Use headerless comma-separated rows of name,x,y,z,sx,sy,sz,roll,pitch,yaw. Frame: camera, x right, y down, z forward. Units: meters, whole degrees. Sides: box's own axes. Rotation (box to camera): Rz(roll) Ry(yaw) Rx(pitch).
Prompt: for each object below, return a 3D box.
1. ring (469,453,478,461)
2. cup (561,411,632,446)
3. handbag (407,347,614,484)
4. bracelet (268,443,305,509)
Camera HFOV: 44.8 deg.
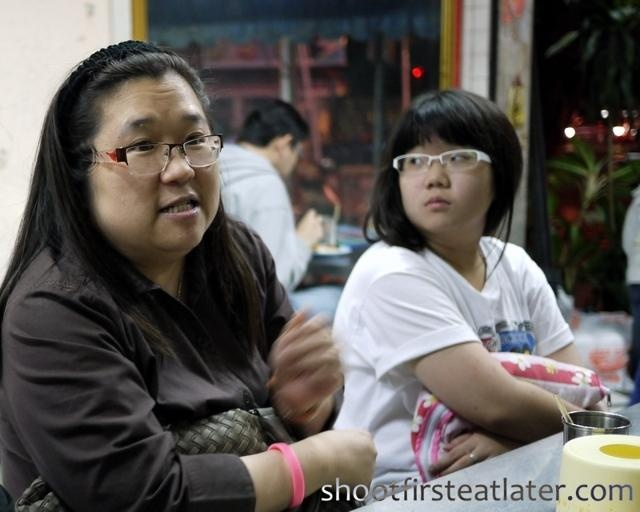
ring,0.443,0.573,2.212,0.017,0.018,0.004,-14,-15,-34
cup,0.678,0.401,1.900,0.103,0.089,0.117,0,-7,2
handbag,0.536,0.445,2.282,0.423,0.196,0.406,-25,5,8
bracelet,-0.077,0.542,1.919,0.035,0.143,0.103,-2,0,-28
